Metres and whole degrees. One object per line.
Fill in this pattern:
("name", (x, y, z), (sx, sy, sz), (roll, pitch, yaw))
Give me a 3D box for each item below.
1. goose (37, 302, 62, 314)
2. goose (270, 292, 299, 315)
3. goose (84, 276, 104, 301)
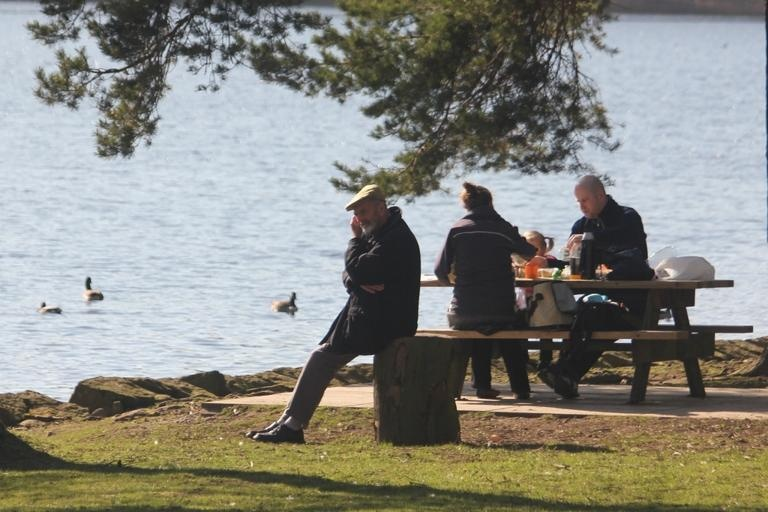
("goose", (-13.574, 2.233, 75.262), (0.778, 0.283, 0.556), (4, 1, 29))
("goose", (-4.074, 2.116, 76.611), (1.242, 0.993, 0.709), (-3, 3, 15))
("goose", (-12.255, 1.704, 78.942), (0.528, 0.758, 1.577), (-5, -3, -11))
